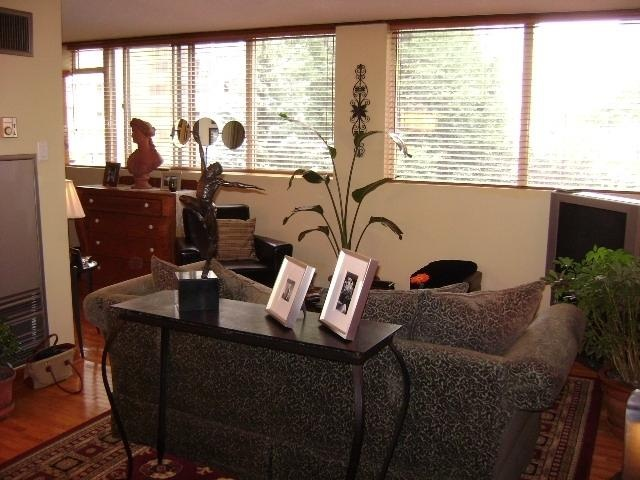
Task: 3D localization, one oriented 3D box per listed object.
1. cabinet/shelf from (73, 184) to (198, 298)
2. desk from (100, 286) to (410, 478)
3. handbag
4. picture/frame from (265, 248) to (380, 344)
[{"bbox_3d":[-2.432,0.098,5.678,0.513,1.238,1.313,-8,-7,28],"label":"cabinet/shelf"},{"bbox_3d":[-0.278,0.651,2.227,0.990,0.692,0.378,5,8,26],"label":"desk"},{"bbox_3d":[-1.968,0.902,3.555,0.353,0.369,0.383,16,12,21],"label":"handbag"},{"bbox_3d":[0.009,0.231,2.042,0.212,0.359,0.548,32,-14,-39],"label":"picture/frame"}]
